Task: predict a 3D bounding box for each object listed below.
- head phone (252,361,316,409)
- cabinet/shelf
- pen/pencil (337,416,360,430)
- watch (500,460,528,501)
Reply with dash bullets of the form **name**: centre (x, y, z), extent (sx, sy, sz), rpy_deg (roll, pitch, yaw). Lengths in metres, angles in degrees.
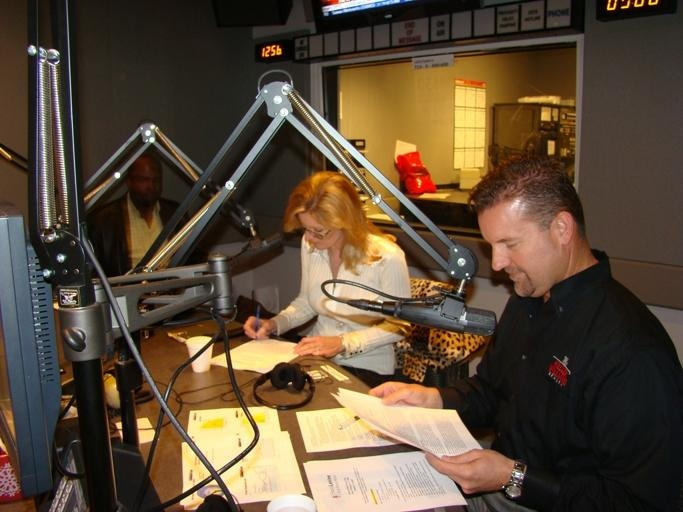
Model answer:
- **head phone**: centre (-0.179, 0.435, 1.908), extent (0.218, 0.108, 0.241), rpy_deg (7, 3, 21)
- **cabinet/shelf**: centre (1.230, -0.828, 3.897), extent (0.484, 0.479, 0.250), rpy_deg (1, -13, 21)
- **pen/pencil**: centre (0.022, 0.531, 1.747), extent (0.022, 0.016, 0.074), rpy_deg (46, 17, 15)
- **watch**: centre (0.484, 0.633, 1.555), extent (0.059, 0.094, 0.098), rpy_deg (22, 25, 18)
